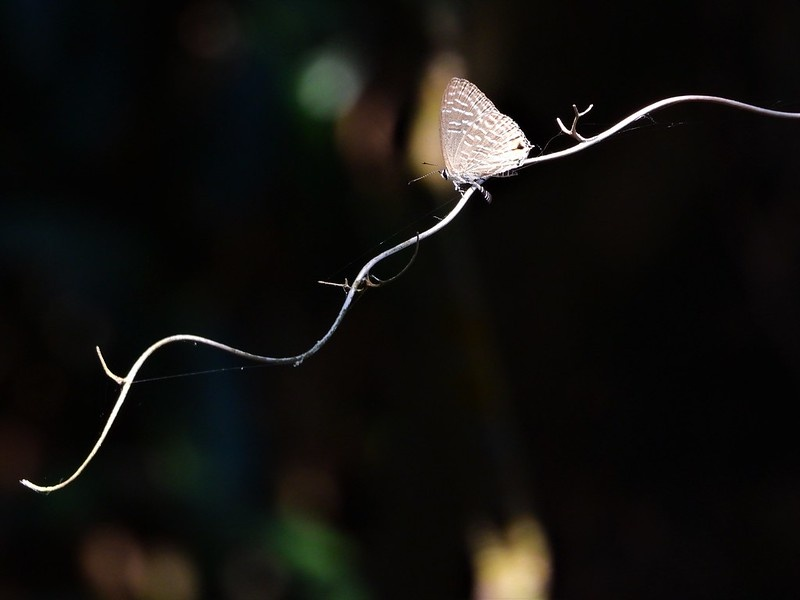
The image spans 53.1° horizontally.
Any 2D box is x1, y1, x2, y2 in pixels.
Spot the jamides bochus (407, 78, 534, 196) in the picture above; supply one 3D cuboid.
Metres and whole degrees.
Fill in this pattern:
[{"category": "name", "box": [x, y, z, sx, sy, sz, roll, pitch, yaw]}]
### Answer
[{"category": "jamides bochus", "box": [0.109, -0.254, 1.228, 0.178, 0.150, 0.200, -5, -73, 12]}]
